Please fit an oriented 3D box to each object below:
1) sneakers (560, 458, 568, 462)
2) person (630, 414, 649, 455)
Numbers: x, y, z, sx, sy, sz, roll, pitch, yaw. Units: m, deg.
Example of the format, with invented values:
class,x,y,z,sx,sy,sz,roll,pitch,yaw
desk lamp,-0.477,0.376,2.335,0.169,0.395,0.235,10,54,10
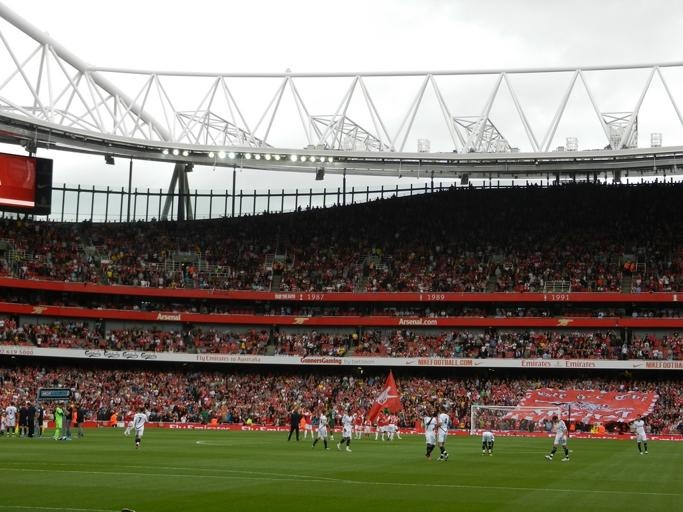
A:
class,x,y,z,sx,sy,sz,roll,pitch,yaw
sneakers,13.118,12.039,71.783,0.410,0.185,0.150,-1,-7,15
person,19.950,12.062,81.695,1.039,2.860,0.827,-9,8,-17
